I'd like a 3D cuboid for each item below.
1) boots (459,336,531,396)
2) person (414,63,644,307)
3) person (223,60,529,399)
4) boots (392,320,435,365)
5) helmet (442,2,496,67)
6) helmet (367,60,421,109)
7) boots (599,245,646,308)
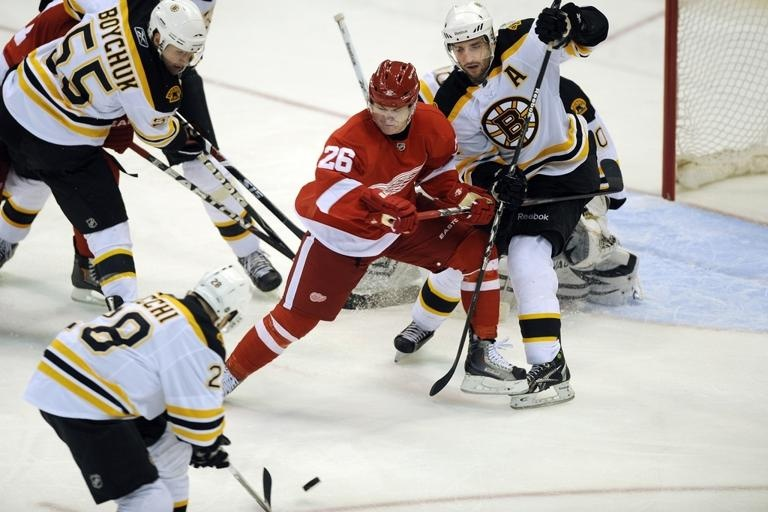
[{"bbox_3d":[0.588,0.579,3.964,0.397,0.256,0.142,0,0,30],"label":"boots"},{"bbox_3d":[0.954,-0.422,4.435,0.592,1.455,1.251,-1,4,-11],"label":"person"},{"bbox_3d":[-0.018,-0.112,3.860,1.406,1.708,0.477,-3,17,0],"label":"person"},{"bbox_3d":[0.152,0.458,4.313,0.138,0.164,0.429,22,13,16],"label":"boots"},{"bbox_3d":[0.431,-1.131,3.860,0.257,0.322,0.227,-1,17,8],"label":"helmet"},{"bbox_3d":[0.030,-0.813,3.628,0.225,0.235,0.237,6,19,0],"label":"helmet"},{"bbox_3d":[1.465,0.141,4.779,0.300,0.302,0.370,2,12,19],"label":"boots"}]
